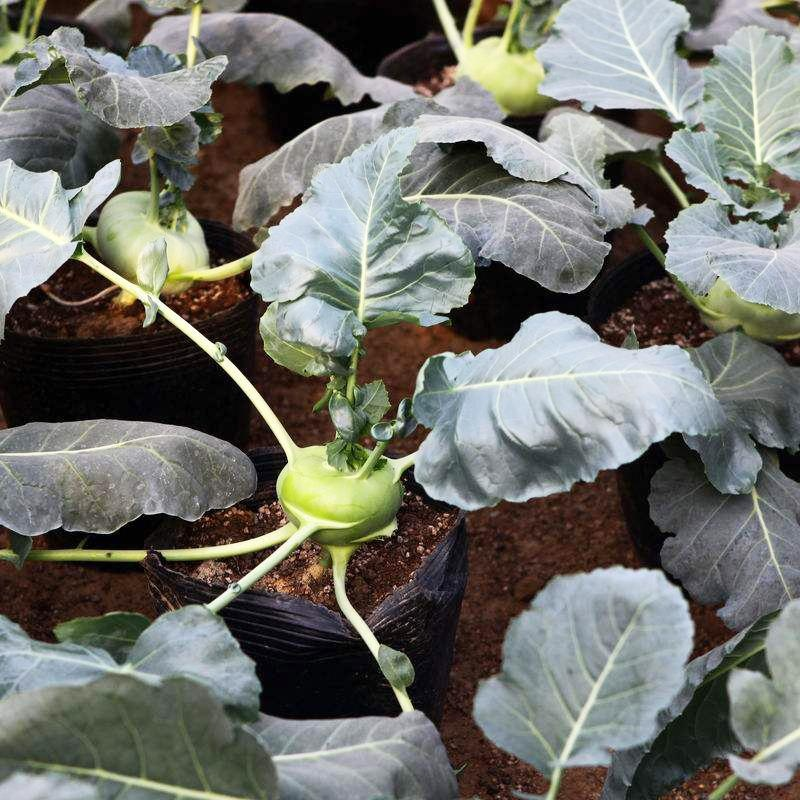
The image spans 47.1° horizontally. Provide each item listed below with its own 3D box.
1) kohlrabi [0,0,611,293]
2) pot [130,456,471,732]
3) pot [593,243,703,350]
[{"bbox_3d":[-0.144,-0.353,1.339,0.879,0.180,0.496,9,34,20],"label":"kohlrabi"},{"bbox_3d":[-0.094,0.277,1.210,0.316,0.267,0.327,1,36,-1],"label":"pot"},{"bbox_3d":[0.402,-0.162,1.496,0.209,0.061,0.170,10,47,11],"label":"pot"}]
